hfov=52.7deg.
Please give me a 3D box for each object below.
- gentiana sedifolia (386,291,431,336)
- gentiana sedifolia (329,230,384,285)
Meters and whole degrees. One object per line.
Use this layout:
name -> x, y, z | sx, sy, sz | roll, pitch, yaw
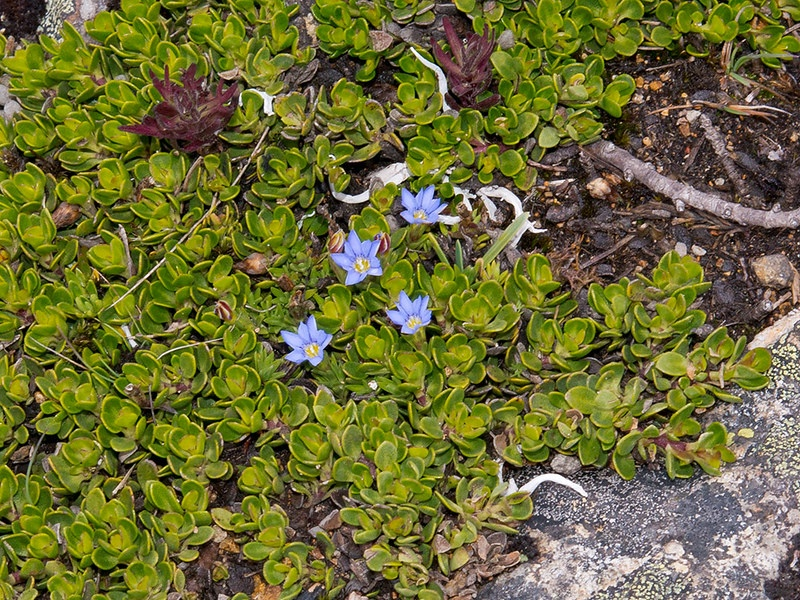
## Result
gentiana sedifolia -> 0.063, 0.083, 4.305 | 0.189, 0.111, 0.247 | 3, 87, -1
gentiana sedifolia -> -0.225, -0.233, 4.342 | 0.259, 0.105, 0.293 | 32, 61, 11
